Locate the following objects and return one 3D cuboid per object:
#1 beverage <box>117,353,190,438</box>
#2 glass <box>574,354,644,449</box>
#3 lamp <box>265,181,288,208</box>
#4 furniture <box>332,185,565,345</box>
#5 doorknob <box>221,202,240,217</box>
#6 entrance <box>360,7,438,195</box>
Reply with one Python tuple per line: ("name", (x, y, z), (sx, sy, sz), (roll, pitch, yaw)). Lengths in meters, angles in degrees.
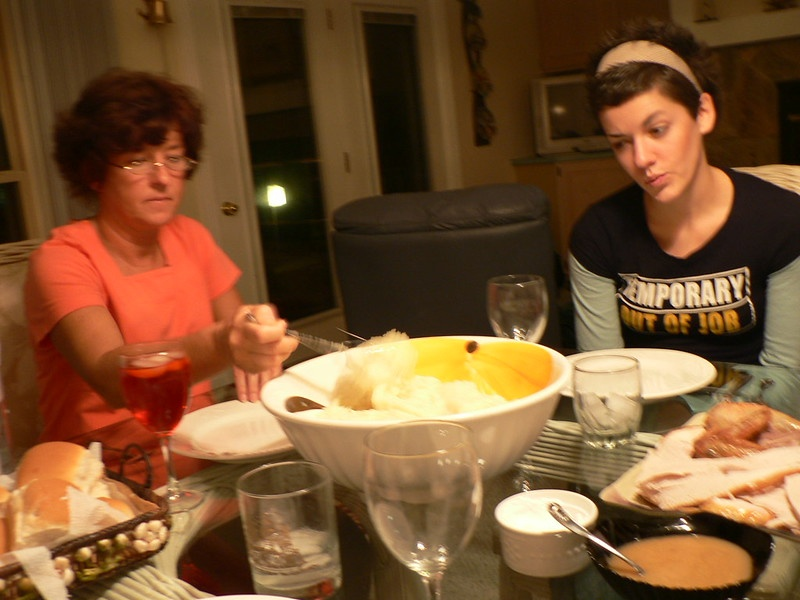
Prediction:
("beverage", (-0.364, 0.156, 0.938), (0.119, 0.160, 0.111), (-5, -1, -25))
("glass", (0.316, 0.157, 0.976), (0.125, 0.127, 0.117), (-3, 4, -5))
("lamp", (-0.816, -0.684, 4.069), (0.148, 0.147, 0.145), (-4, 18, -9))
("furniture", (0.206, -0.138, 2.189), (0.602, 0.604, 0.596), (-1, 13, 11))
("doorknob", (-1.048, -0.559, 3.803), (0.099, 0.062, 0.088), (26, 36, 37))
("entrance", (-0.049, -1.492, 4.883), (0.118, 1.485, 0.906), (5, 19, 35))
